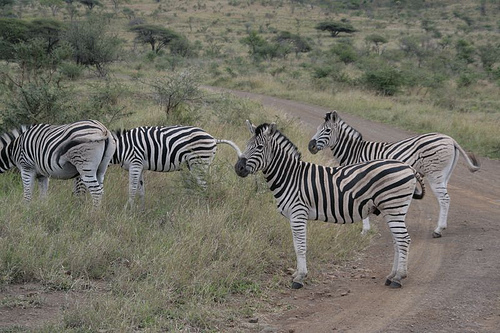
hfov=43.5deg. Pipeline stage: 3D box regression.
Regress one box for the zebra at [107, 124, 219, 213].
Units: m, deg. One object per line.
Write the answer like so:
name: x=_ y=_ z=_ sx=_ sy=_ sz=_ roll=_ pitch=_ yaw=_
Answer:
zebra: x=-2.757 y=0.057 z=17.709 sx=4.039 sy=2.308 sz=1.139 roll=-2 pitch=-2 yaw=14

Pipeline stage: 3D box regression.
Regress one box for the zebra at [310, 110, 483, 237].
zebra: x=4.049 y=0.183 z=17.787 sx=4.881 sy=3.267 sz=1.183 roll=2 pitch=5 yaw=30

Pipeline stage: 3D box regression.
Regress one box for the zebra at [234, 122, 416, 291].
zebra: x=1.904 y=1.086 z=15.663 sx=4.809 sy=3.735 sz=1.321 roll=3 pitch=-1 yaw=1
